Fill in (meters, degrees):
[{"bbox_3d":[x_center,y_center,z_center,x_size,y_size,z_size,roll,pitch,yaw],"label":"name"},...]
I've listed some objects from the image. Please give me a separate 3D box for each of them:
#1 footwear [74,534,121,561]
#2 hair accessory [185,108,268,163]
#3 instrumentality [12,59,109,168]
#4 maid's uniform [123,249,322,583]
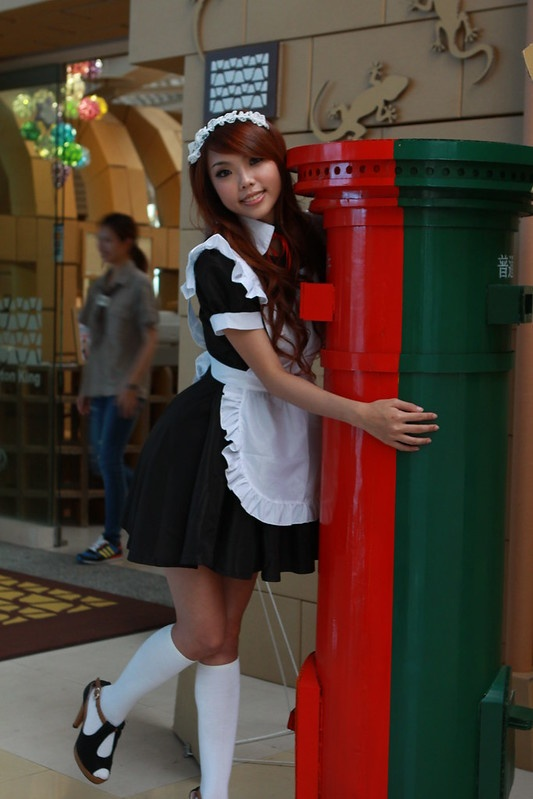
[{"bbox_3d":[-0.845,0.761,3.892,0.086,0.122,0.261,-5,-9,39],"label":"footwear"},{"bbox_3d":[-0.067,-0.438,1.328,0.118,0.032,0.095,-32,17,10],"label":"hair accessory"},{"bbox_3d":[-1.140,-1.483,4.188,0.440,0.133,0.454,-23,-30,13],"label":"instrumentality"},{"bbox_3d":[-0.123,0.080,1.719,0.458,0.885,0.670,1,2,1],"label":"maid's uniform"}]
